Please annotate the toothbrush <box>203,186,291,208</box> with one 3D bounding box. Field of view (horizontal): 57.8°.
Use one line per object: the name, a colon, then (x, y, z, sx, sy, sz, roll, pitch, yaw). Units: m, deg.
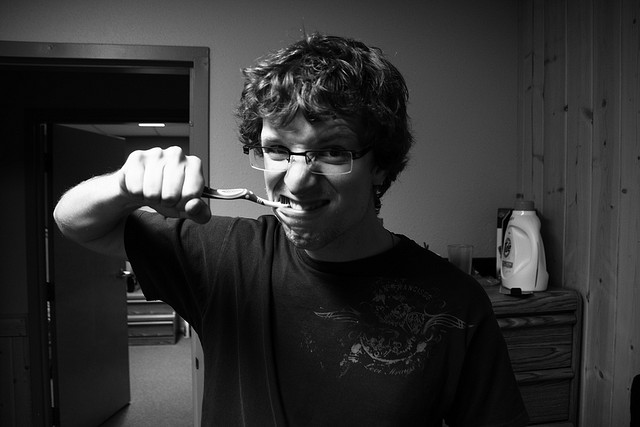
toothbrush: (-0.324, -0.074, 2.576, 0.374, 0.091, 0.040, 15, -2, -8)
